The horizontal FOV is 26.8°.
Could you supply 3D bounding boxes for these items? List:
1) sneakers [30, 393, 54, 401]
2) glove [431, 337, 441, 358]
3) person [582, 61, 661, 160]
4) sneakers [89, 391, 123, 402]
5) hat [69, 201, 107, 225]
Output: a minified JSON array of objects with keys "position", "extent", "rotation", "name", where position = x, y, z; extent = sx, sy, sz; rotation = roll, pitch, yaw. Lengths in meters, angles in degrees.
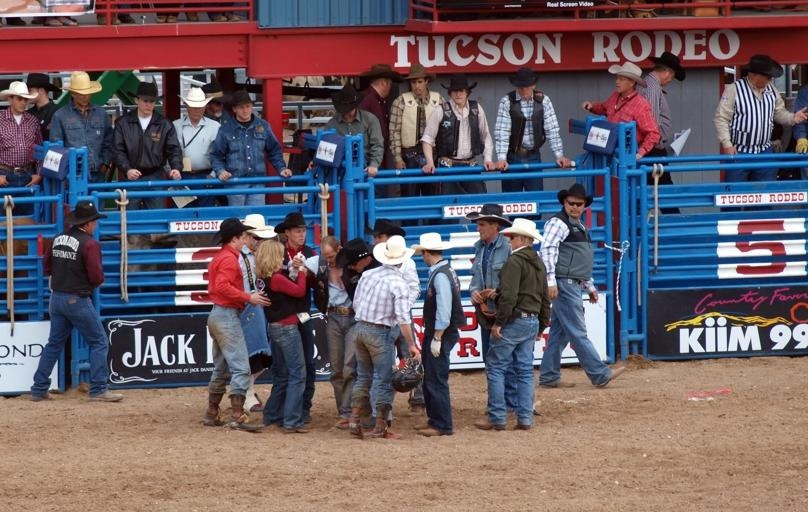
[{"position":[-5.568,2.194,26.272],"extent":[0.327,0.142,0.120],"rotation":[-6,13,-24],"name":"sneakers"},{"position":[0.445,1.336,24.502],"extent":[0.100,0.232,0.172],"rotation":[1,11,-8],"name":"glove"},{"position":[3.611,-2.392,27.981],"extent":[0.880,2.542,1.478],"rotation":[-3,7,-21],"name":"person"},{"position":[-4.564,2.217,26.245],"extent":[0.482,0.220,0.194],"rotation":[-1,3,1],"name":"sneakers"},{"position":[-4.808,-0.646,25.807],"extent":[0.372,0.159,0.327],"rotation":[-7,35,-14],"name":"hat"}]
